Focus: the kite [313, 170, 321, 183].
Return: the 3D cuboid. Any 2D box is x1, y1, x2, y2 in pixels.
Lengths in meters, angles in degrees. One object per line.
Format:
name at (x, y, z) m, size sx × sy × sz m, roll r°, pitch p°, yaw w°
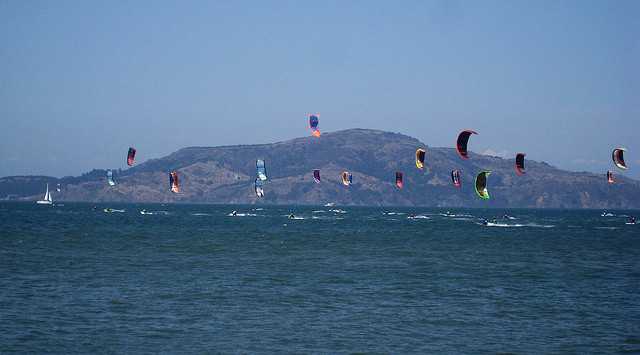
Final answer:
kite at (-0.950, -0.121, 207.528) m, size 1.050 × 3.143 × 2.425 m, roll -2°, pitch 9°, yaw 1°
